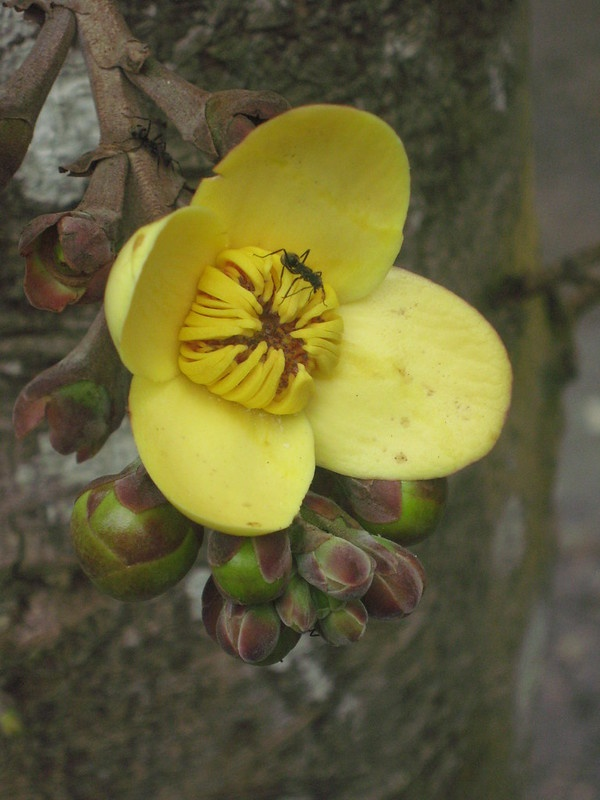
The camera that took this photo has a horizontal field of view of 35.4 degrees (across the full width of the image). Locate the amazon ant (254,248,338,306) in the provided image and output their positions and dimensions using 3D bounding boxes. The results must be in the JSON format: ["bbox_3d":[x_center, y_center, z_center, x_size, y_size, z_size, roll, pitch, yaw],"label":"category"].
[{"bbox_3d":[-0.011,-0.154,1.141,0.074,0.080,0.079,-12,80,-1],"label":"amazon ant"}]
